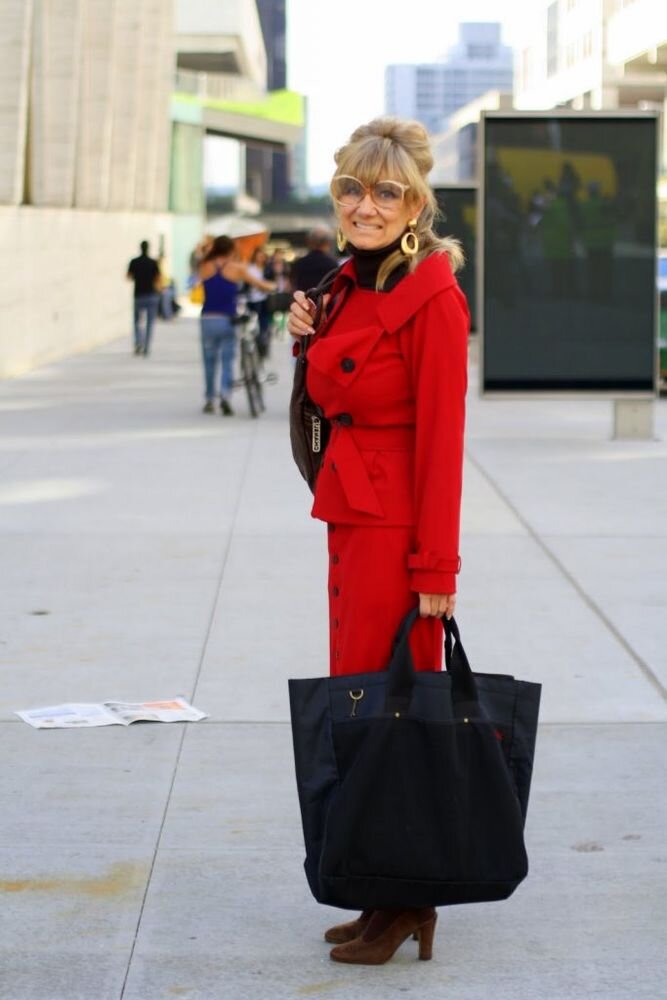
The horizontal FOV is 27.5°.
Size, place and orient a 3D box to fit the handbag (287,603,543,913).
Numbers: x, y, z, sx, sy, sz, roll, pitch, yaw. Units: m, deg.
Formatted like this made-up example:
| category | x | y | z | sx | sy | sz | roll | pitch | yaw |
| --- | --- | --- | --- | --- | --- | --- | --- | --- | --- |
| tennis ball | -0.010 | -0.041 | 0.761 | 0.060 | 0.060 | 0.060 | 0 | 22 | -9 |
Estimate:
| category | x | y | z | sx | sy | sz | roll | pitch | yaw |
| --- | --- | --- | --- | --- | --- | --- | --- | --- | --- |
| handbag | 0.161 | 0.584 | 2.836 | 0.510 | 0.639 | 0.230 | 1 | 11 | 2 |

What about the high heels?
| category | x | y | z | sx | sy | sz | roll | pitch | yaw |
| --- | --- | --- | --- | --- | --- | --- | --- | --- | --- |
| high heels | 0.098 | 0.959 | 3.056 | 0.215 | 0.119 | 0.137 | 4 | -2 | 6 |

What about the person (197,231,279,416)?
| category | x | y | z | sx | sy | sz | roll | pitch | yaw |
| --- | --- | --- | --- | --- | --- | --- | --- | --- | --- |
| person | -1.180 | -1.966 | 15.620 | 0.670 | 2.071 | 1.442 | -1 | 10 | -6 |

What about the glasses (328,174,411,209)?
| category | x | y | z | sx | sy | sz | roll | pitch | yaw |
| --- | --- | --- | --- | --- | --- | --- | --- | --- | --- |
| glasses | 0.061 | -0.667 | 2.956 | 0.186 | 0.073 | 0.073 | 5 | 11 | 29 |
